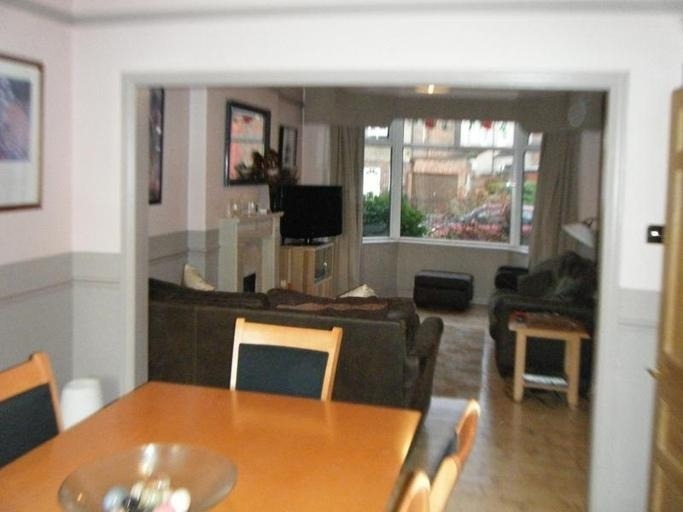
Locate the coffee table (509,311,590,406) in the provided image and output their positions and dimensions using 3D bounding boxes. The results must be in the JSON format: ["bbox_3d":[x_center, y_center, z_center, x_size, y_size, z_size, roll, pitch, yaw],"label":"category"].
[{"bbox_3d":[1.753,0.898,4.764,0.676,0.700,0.703,3,3,15],"label":"coffee table"}]

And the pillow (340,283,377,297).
[{"bbox_3d":[0.164,0.316,4.698,0.221,0.078,0.162,0,3,15],"label":"pillow"}]

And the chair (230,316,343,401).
[{"bbox_3d":[-0.251,0.533,2.784,0.398,0.452,0.720,7,-32,3],"label":"chair"}]

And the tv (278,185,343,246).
[{"bbox_3d":[-0.393,-0.542,7.009,0.905,0.704,0.226,1,1,26],"label":"tv"}]

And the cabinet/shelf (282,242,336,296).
[{"bbox_3d":[-0.438,0.368,7.403,0.407,1.070,1.089,2,8,11],"label":"cabinet/shelf"}]

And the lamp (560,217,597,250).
[{"bbox_3d":[2.763,-0.263,6.262,0.280,0.334,0.346,15,10,-41],"label":"lamp"}]

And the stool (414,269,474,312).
[{"bbox_3d":[1.447,0.414,7.733,0.772,0.528,0.604,5,20,19],"label":"stool"}]
